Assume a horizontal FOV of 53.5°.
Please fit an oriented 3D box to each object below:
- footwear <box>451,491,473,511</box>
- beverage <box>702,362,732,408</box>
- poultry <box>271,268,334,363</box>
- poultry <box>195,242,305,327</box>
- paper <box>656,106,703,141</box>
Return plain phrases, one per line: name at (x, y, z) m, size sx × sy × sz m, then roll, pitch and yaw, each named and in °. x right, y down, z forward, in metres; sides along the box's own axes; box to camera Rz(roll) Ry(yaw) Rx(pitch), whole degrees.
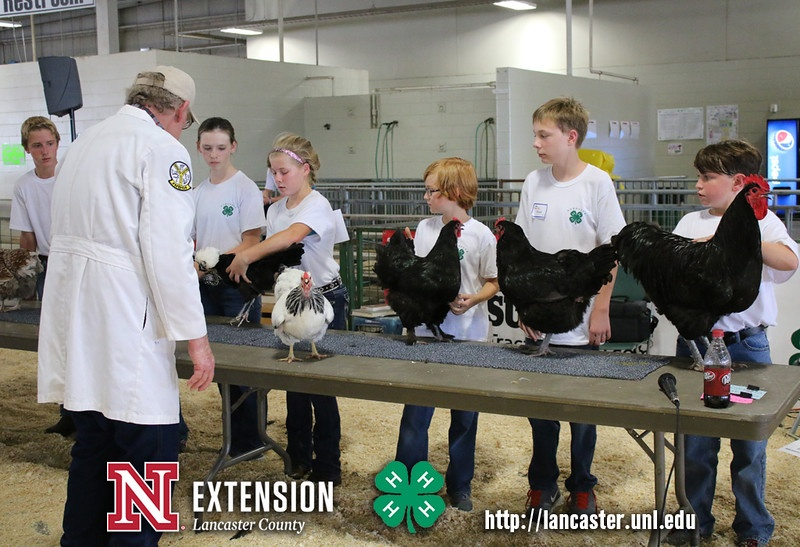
footwear at (0.369, 1.338, 4.670) m, size 0.077 × 0.056 × 0.143 m, roll 1°, pitch -8°, yaw -18°
beverage at (1.428, 0.505, 3.623) m, size 0.139 × 0.216 × 0.134 m, roll 2°, pitch -2°, yaw 14°
poultry at (-0.524, 0.196, 4.145) m, size 0.265 × 0.433 × 0.527 m, roll -2°, pitch 7°, yaw -13°
poultry at (-0.911, 0.070, 4.715) m, size 0.701 × 0.481 × 0.236 m, roll -7°, pitch 3°, yaw 29°
paper at (4.529, -2.414, 12.833) m, size 0.604 × 0.423 × 0.023 m, roll 2°, pitch 9°, yaw 27°
